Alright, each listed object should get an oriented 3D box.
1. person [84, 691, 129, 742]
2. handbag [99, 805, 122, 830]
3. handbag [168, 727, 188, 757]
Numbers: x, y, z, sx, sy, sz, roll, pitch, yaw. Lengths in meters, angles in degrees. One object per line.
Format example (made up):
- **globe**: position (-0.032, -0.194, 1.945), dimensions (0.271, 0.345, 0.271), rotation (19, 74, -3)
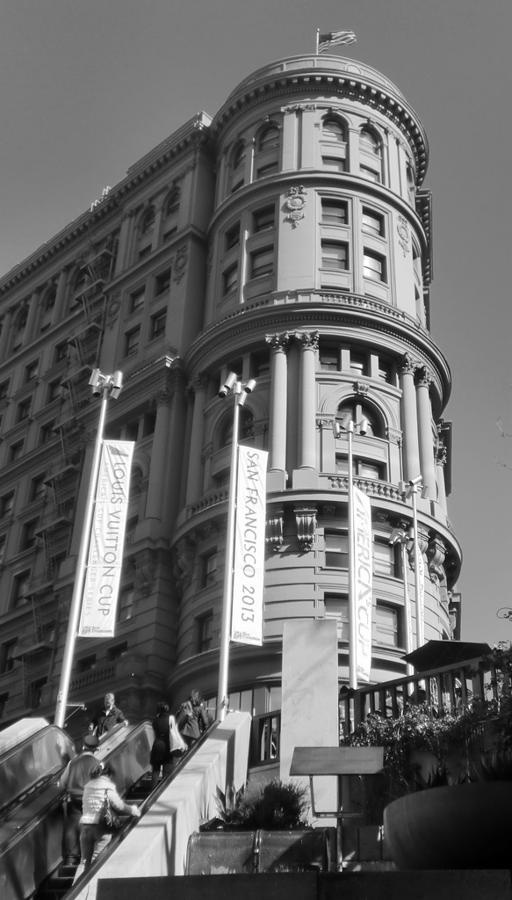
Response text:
- **person**: position (-3.285, 5.940, 17.911), dimensions (0.716, 0.927, 1.630), rotation (6, -21, -9)
- **handbag**: position (-1.850, 4.690, 10.225), dimensions (0.143, 0.386, 0.247), rotation (-23, -25, -7)
- **handbag**: position (-1.424, 5.233, 14.378), dimensions (0.283, 0.458, 0.952), rotation (4, -21, -5)
